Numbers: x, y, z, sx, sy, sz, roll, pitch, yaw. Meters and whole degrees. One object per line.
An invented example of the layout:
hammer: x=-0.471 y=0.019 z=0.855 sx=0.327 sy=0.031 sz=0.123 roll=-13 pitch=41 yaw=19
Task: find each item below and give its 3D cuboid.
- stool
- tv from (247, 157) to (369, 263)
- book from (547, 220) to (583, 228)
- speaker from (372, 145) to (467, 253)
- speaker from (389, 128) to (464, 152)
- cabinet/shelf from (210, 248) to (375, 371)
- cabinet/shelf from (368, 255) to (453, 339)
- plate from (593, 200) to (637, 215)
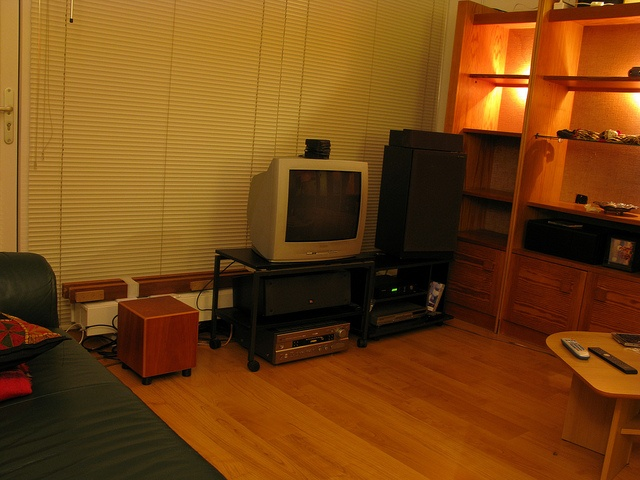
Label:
stool: x=-0.949 y=0.509 z=3.043 sx=0.509 sy=0.470 sz=0.478 roll=-4 pitch=23 yaw=-35
tv: x=-0.072 y=-0.270 z=3.601 sx=0.985 sy=0.817 sz=0.690 roll=-5 pitch=18 yaw=-34
book: x=1.921 y=-0.121 z=3.941 sx=0.246 sy=0.024 sz=0.185 roll=13 pitch=18 yaw=39
speaker: x=0.776 y=-0.297 z=3.877 sx=0.637 sy=0.819 sz=0.373 roll=4 pitch=16 yaw=9
speaker: x=0.819 y=-0.752 z=3.820 sx=0.570 sy=0.163 sz=0.284 roll=3 pitch=15 yaw=5
cabinet/shelf: x=-0.189 y=0.462 z=3.528 sx=1.089 sy=0.693 sz=0.619 roll=-3 pitch=13 yaw=-38
cabinet/shelf: x=0.610 y=0.419 z=4.121 sx=0.878 sy=0.520 sz=0.572 roll=-3 pitch=12 yaw=-33
plate: x=2.263 y=-0.247 z=3.818 sx=0.247 sy=0.084 sz=0.342 roll=14 pitch=18 yaw=39
